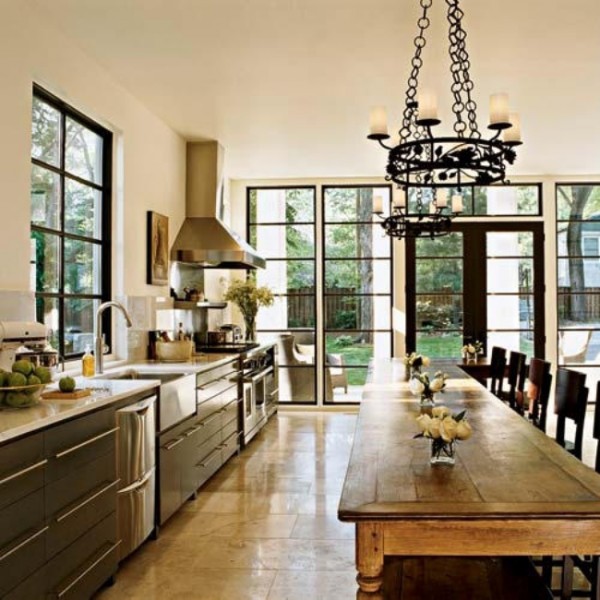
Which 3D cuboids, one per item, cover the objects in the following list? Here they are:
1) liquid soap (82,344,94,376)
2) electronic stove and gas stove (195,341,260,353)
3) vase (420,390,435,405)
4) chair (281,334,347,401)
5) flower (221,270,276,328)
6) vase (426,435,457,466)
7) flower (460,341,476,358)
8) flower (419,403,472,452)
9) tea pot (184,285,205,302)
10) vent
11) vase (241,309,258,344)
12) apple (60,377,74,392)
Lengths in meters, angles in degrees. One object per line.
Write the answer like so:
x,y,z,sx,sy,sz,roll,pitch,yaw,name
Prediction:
-1.194,0.338,3.114,0.054,0.178,0.228,0,-1,-18,liquid soap
-0.732,0.471,5.520,0.582,0.072,0.889,-1,-1,2,electronic stove and gas stove
0.671,0.503,2.864,0.067,0.071,0.128,-1,-8,13,vase
0.180,0.929,7.631,0.863,1.039,0.807,0,-3,-2,chair
-0.568,0.030,6.297,0.639,0.663,0.620,2,0,-21,flower
0.488,0.508,1.876,0.088,0.159,0.090,0,-10,0,vase
1.831,0.538,5.859,0.191,0.149,0.258,2,-2,0,flower
0.488,0.409,1.884,0.173,0.173,0.178,0,6,7,flower
-1.036,-0.042,5.487,0.117,0.223,0.228,-1,-3,21,tea pot
-0.813,-0.971,5.815,0.680,1.207,1.282,2,0,2,vent
-0.547,0.285,6.115,0.136,0.357,0.428,-1,-1,-6,vase
-1.045,0.379,2.470,0.062,0.063,0.091,0,-1,-21,apple
